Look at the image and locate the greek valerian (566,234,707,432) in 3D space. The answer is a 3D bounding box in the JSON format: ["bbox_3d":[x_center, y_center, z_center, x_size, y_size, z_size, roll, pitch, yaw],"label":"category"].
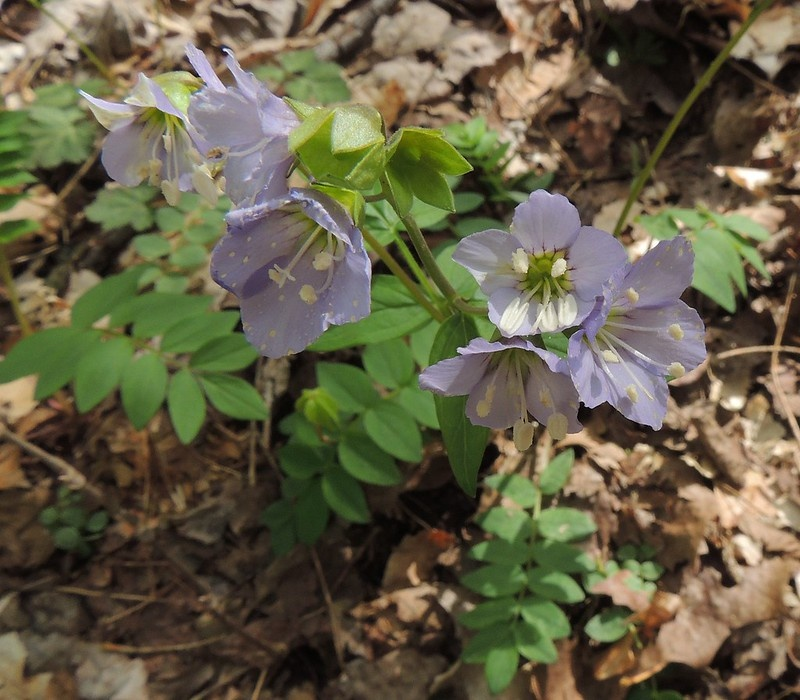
[{"bbox_3d":[0.779,-0.052,2.465,0.616,0.566,0.278,-46,40,-15],"label":"greek valerian"}]

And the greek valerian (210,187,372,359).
[{"bbox_3d":[-0.350,-0.245,2.416,0.578,0.514,0.256,13,20,3],"label":"greek valerian"}]

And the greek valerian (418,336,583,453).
[{"bbox_3d":[0.370,0.098,2.597,0.517,0.371,0.559,5,19,20],"label":"greek valerian"}]

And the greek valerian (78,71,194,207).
[{"bbox_3d":[-0.840,-0.711,2.521,0.376,0.437,0.360,-2,77,-4],"label":"greek valerian"}]

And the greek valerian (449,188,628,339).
[{"bbox_3d":[0.441,-0.254,2.398,0.437,0.188,0.416,-32,80,-11],"label":"greek valerian"}]

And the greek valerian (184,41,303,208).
[{"bbox_3d":[-0.404,-0.726,2.427,0.423,0.483,0.385,-1,34,-4],"label":"greek valerian"}]
